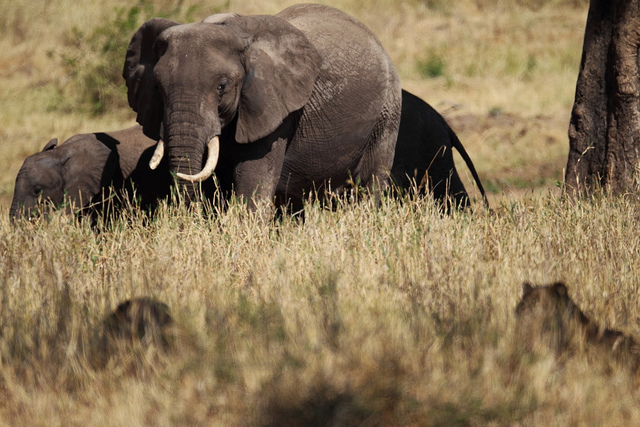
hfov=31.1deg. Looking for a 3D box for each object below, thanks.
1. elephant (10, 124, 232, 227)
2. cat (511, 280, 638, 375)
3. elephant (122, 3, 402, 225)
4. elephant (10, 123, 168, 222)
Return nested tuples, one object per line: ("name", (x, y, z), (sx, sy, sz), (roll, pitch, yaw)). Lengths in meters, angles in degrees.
("elephant", (-2.244, -0.452, 12.917), (2.357, 1.532, 1.158), (0, 2, -22))
("cat", (2.362, 1.079, 11.099), (0.692, 0.475, 1.030), (4, 3, -5))
("elephant", (-0.614, -1.053, 13.073), (1.853, 2.372, 2.880), (1, 1, 44))
("elephant", (-2.600, -0.515, 13.264), (1.734, 1.175, 0.931), (-3, 5, -13))
